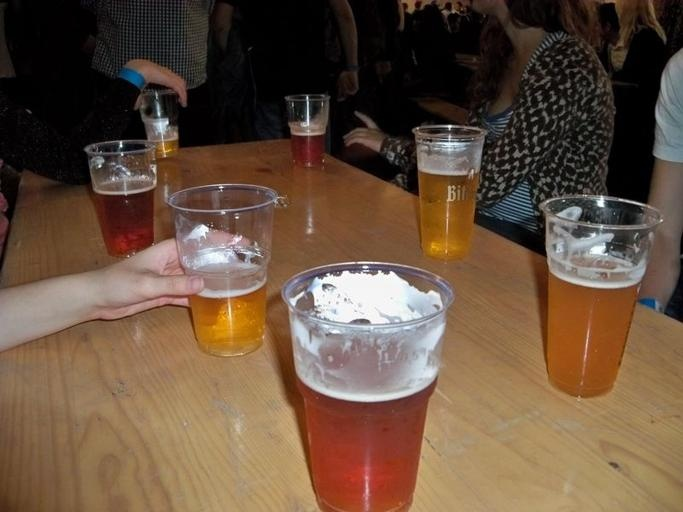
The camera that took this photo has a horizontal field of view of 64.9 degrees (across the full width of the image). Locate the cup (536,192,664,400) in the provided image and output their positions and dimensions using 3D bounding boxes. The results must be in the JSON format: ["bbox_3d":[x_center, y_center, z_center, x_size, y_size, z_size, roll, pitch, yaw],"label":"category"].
[{"bbox_3d":[0.392,0.057,0.850,0.159,0.274,0.184,3,26,5],"label":"cup"}]
